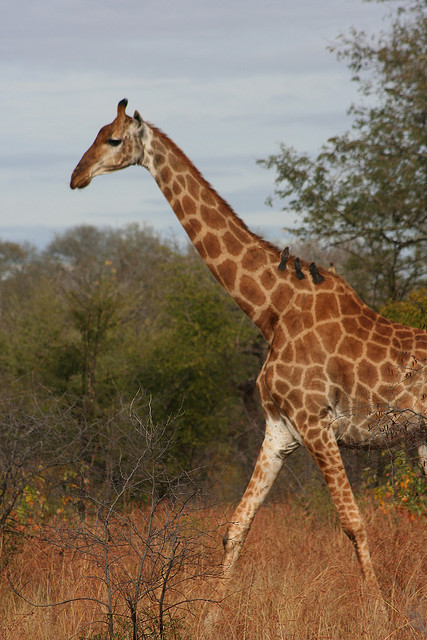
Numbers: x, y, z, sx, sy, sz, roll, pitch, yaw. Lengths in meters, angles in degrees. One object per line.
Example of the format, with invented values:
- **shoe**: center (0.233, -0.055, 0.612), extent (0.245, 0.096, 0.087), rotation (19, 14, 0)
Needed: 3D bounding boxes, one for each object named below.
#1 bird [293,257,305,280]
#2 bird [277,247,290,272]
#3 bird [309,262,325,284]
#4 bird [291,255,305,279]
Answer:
- **bird**: center (0.751, -0.423, 12.601), extent (0.101, 0.245, 0.052), rotation (9, -23, -38)
- **bird**: center (0.628, -0.520, 12.674), extent (0.061, 0.263, 0.061), rotation (6, 0, -1)
- **bird**: center (0.894, -0.405, 12.532), extent (0.104, 0.196, 0.049), rotation (-3, 2, 10)
- **bird**: center (0.743, -0.456, 12.643), extent (0.073, 0.219, 0.066), rotation (-14, -21, 8)
